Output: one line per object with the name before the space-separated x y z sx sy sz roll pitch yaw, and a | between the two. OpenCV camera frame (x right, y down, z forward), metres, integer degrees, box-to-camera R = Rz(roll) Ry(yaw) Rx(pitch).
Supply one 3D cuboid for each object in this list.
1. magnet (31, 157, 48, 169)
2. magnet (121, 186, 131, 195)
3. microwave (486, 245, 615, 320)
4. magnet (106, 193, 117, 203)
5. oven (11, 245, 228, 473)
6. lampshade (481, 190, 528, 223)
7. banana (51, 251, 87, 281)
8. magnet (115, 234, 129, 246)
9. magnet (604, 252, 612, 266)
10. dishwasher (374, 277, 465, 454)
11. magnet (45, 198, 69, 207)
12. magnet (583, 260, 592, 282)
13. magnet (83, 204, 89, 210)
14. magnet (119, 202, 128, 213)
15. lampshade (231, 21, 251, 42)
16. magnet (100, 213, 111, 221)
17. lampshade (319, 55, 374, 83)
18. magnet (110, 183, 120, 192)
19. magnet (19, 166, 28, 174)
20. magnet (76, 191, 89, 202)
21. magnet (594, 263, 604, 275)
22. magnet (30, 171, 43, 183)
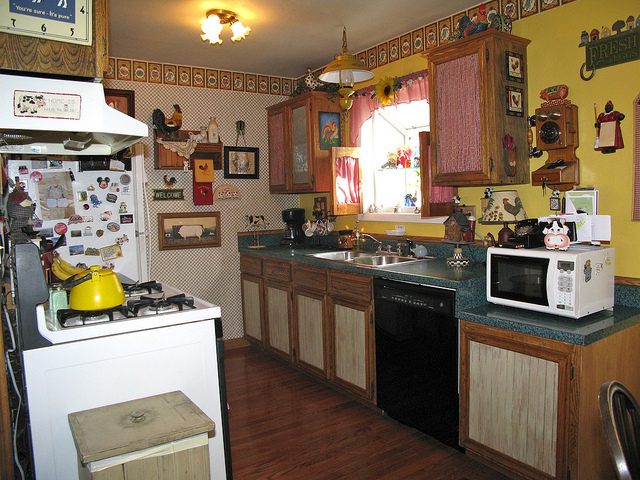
magnet | -2.420 -0.667 4.163 0.106 0.099 0.025 -1 8 -44
magnet | -1.842 -0.468 4.592 0.061 0.058 0.063 1 2 29
microwave | 1.376 0.236 2.919 0.676 0.397 0.686 -2 4 -17
magnet | -1.948 -0.392 4.524 0.095 0.085 0.021 -7 10 -27
oven | -0.976 0.601 2.468 0.931 1.231 0.494 -6 10 -24
lampshade | 1.304 -0.244 3.409 0.230 0.171 0.229 -5 7 -18
banana | -1.448 0.172 2.801 0.245 0.162 0.082 12 32 31
magnet | -1.875 0.009 4.557 0.087 0.125 0.048 -19 16 -20
magnet | 1.621 0.106 2.738 0.046 0.068 0.024 -2 -6 4
dishwasher | 0.665 0.767 3.346 0.715 0.975 0.683 -5 5 -36
magnet | -2.318 -0.328 4.266 0.132 0.074 0.029 -8 17 -35
magnet | 1.445 0.167 2.625 0.071 0.113 0.017 -10 12 -42
magnet | -2.131 -0.304 4.400 0.049 0.050 0.011 -1 -3 -26
magnet | -1.868 -0.308 4.578 0.089 0.102 0.092 5 7 34
lampshade | -0.611 -1.584 3.650 0.120 0.168 0.310 -3 9 -9
magnet | -1.995 -0.217 4.489 0.066 0.066 0.024 11 -5 -27
lampshade | 0.165 -1.147 3.272 0.348 0.165 0.406 1 10 16
magnet | -1.929 -0.495 4.537 0.088 0.087 0.021 -4 5 -28
magnet | -2.521 -0.595 4.113 0.090 0.089 0.049 0 11 -8
magnet | -2.153 -0.397 4.375 0.090 0.085 0.040 -7 13 -40
magnet | 1.541 0.160 2.687 0.057 0.058 0.013 6 -2 -34
magnet | -2.441 -0.543 4.157 0.096 0.097 0.022 -6 9 -39
